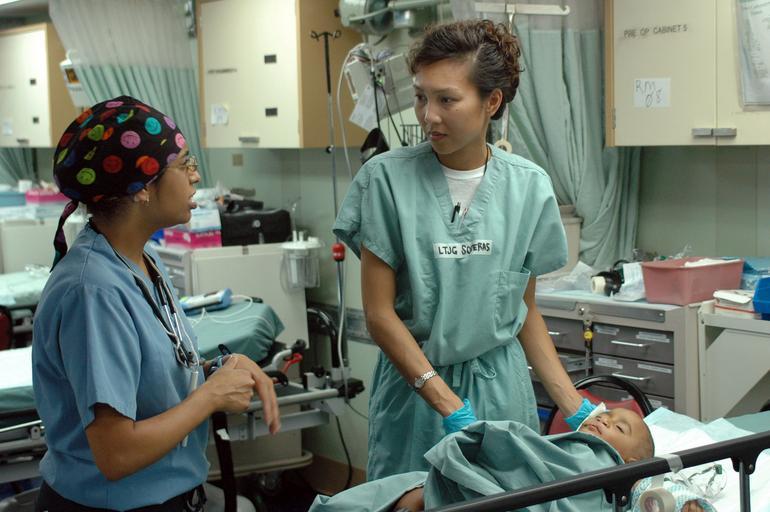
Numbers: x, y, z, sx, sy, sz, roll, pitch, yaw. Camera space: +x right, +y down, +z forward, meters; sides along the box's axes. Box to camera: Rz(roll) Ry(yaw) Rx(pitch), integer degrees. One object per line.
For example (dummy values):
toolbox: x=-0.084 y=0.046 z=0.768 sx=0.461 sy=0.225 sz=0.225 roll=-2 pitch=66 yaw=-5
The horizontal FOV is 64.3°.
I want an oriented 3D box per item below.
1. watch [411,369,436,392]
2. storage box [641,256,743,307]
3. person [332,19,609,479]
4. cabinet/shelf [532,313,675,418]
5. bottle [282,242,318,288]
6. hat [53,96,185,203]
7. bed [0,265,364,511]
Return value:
watch: x=0.111 y=0.339 z=1.762 sx=0.071 sy=0.072 sz=0.047 roll=-15 pitch=28 yaw=-18
storage box: x=1.403 y=0.089 z=2.781 sx=0.357 sy=0.140 sz=0.226 roll=-4 pitch=3 yaw=-33
person: x=0.240 y=0.329 z=1.938 sx=0.751 sy=1.951 sz=0.659 roll=-1 pitch=18 yaw=1
cabinet/shelf: x=0.944 y=0.449 z=2.537 sx=0.560 sy=0.536 sz=0.205 roll=0 pitch=0 yaw=45
bottle: x=-0.496 y=0.045 z=3.846 sx=0.267 sy=0.280 sz=0.259 roll=-1 pitch=4 yaw=-4
hat: x=-0.673 y=-0.212 z=1.581 sx=0.265 sy=0.116 sz=0.279 roll=-27 pitch=52 yaw=5
bed: x=-0.699 y=0.399 z=2.737 sx=1.141 sy=0.287 sz=1.152 roll=-5 pitch=10 yaw=-17
